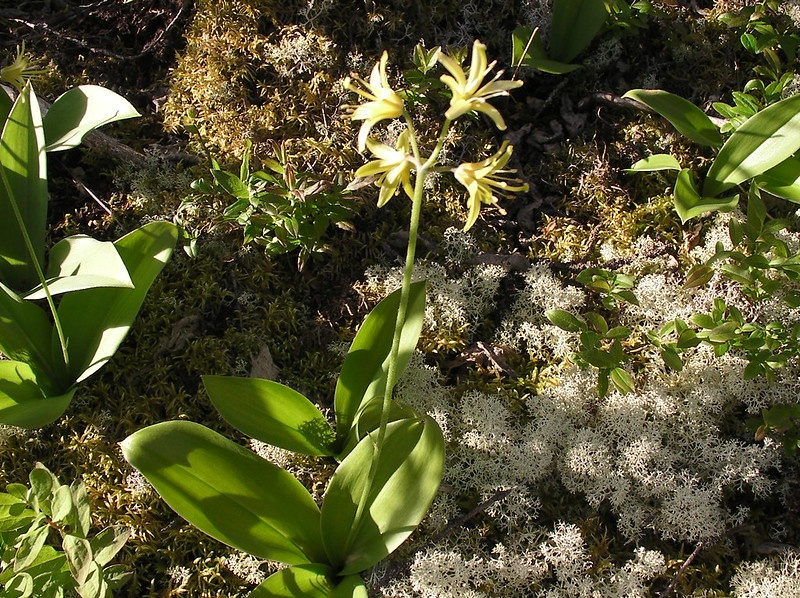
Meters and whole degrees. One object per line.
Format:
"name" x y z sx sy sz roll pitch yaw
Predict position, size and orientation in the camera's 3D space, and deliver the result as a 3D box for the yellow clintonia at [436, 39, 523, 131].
"yellow clintonia" 0.213 -0.674 2.331 0.302 0.300 0.186 20 93 -5
